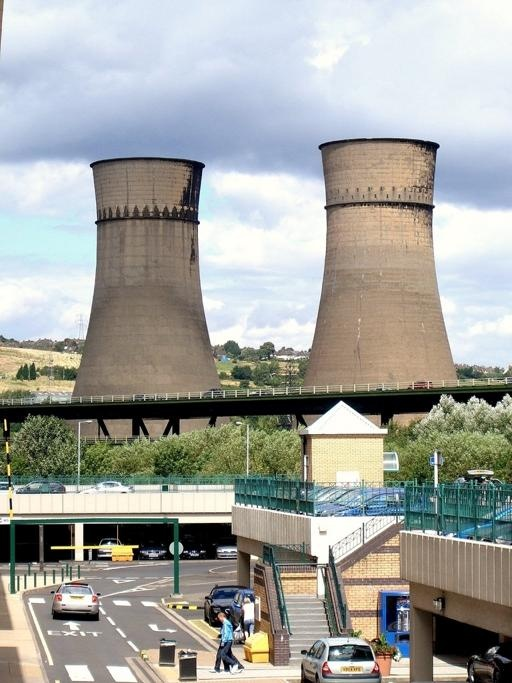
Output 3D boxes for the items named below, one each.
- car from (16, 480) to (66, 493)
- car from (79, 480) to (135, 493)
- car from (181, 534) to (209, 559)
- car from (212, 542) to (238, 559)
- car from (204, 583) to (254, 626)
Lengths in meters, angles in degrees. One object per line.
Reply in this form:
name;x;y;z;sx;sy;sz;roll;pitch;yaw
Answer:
car;-11.145;7.681;68.612;1.671;0.654;0.986;3;-4;-5
car;-7.652;7.715;68.883;1.896;0.739;1.096;3;-4;3
car;-3.637;11.972;76.544;0.993;0.921;2.521;1;-9;-8
car;-1.598;11.418;70.677;1.005;0.721;1.939;-2;-2;-7
car;-0.823;7.403;36.918;0.931;0.792;1.969;1;-10;-7
